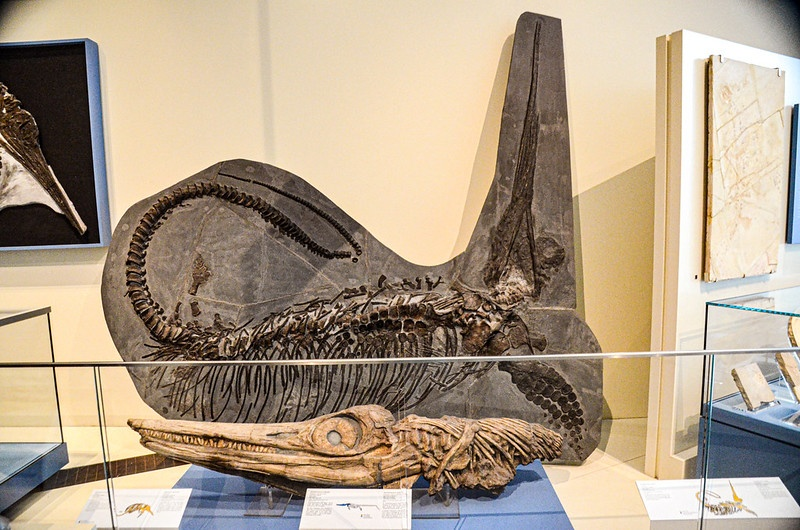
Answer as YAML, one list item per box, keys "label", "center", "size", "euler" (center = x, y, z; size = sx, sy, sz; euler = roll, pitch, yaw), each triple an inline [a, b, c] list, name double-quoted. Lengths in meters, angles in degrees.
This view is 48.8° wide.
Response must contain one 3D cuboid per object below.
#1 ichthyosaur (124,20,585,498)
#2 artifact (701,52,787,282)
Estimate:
- label: "ichthyosaur"
  center: [-0.290, -0.029, 4.667]
  size: [2.733, 2.308, 0.924]
  euler: [-1, -1, -6]
- label: "artifact"
  center: [1.821, -0.512, 4.703]
  size: [0.606, 1.202, 0.178]
  euler: [-6, 0, -31]
